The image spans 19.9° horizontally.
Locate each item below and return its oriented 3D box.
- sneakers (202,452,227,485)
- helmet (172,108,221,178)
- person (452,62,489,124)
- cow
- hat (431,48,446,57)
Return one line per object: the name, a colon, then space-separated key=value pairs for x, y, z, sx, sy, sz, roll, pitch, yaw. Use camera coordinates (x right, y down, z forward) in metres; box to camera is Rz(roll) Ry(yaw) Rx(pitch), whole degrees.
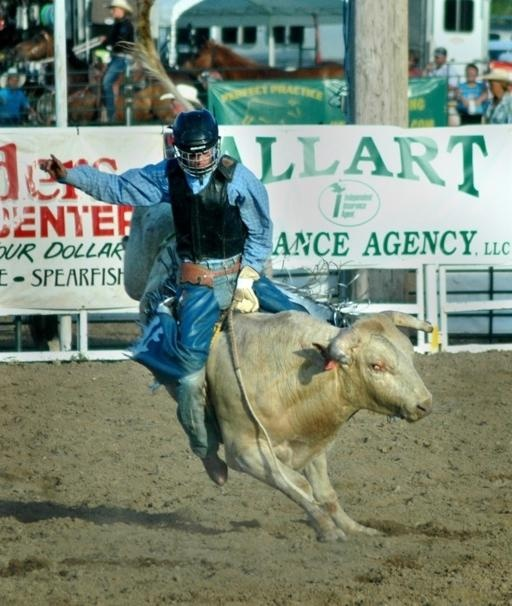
sneakers: x=-0.266 y=1.107 z=9.742 sx=0.128 sy=0.242 sz=0.104 roll=-28 pitch=13 yaw=15
helmet: x=-0.396 y=-1.037 z=9.356 sx=0.286 sy=0.368 sz=0.381 roll=-7 pitch=38 yaw=-2
person: x=2.350 y=-2.173 z=15.898 sx=0.324 sy=0.914 sz=0.296 roll=0 pitch=46 yaw=12
cow: x=-0.071 y=0.247 z=9.885 sx=1.020 sy=1.568 sz=3.270 roll=-7 pitch=30 yaw=-35
hat: x=2.126 y=-2.848 z=16.748 sx=0.099 sy=0.078 sz=0.143 roll=14 pitch=14 yaw=26
